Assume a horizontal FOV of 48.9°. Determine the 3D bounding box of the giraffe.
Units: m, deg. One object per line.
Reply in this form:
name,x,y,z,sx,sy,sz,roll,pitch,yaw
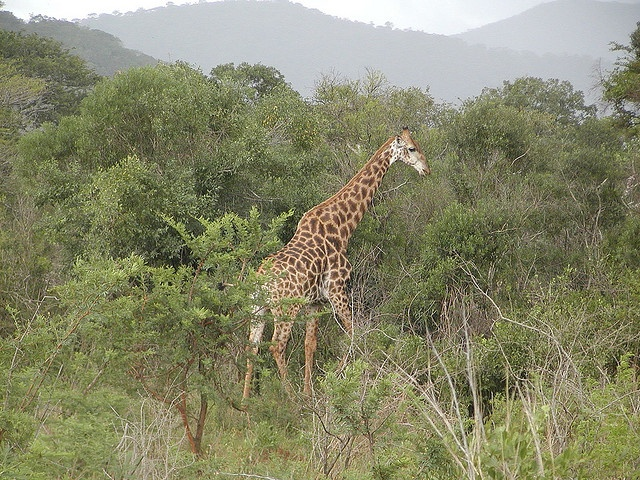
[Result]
giraffe,0.055,0.136,12.733,1.824,5.756,3.483,-7,-27,37
